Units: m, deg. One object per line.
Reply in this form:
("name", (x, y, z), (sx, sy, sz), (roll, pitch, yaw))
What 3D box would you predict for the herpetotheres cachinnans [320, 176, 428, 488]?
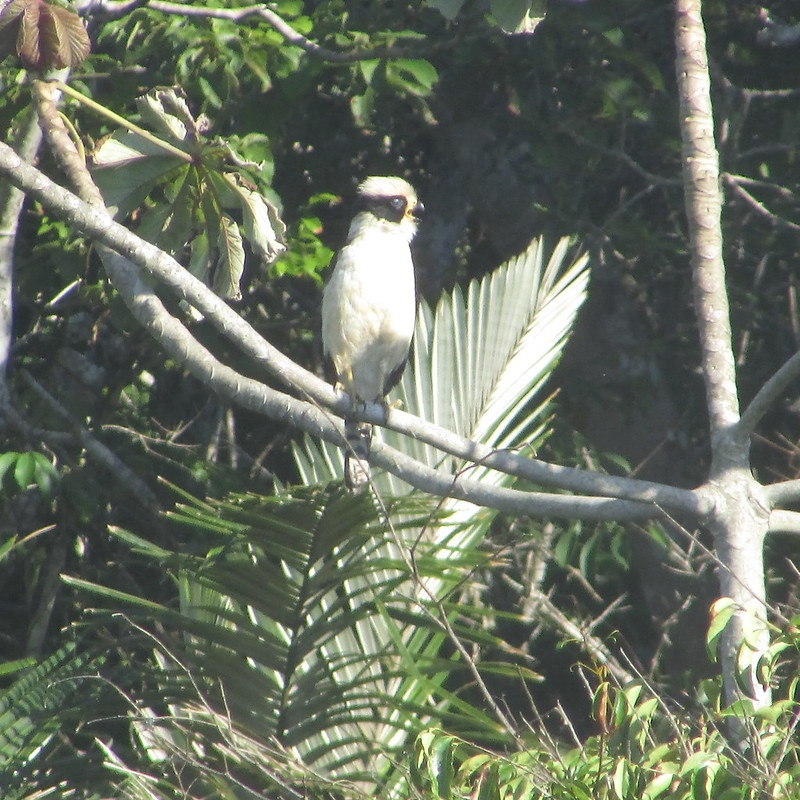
("herpetotheres cachinnans", (-0.145, -0.175, 9.806), (0.334, 1.360, 0.758), (6, 22, -14))
